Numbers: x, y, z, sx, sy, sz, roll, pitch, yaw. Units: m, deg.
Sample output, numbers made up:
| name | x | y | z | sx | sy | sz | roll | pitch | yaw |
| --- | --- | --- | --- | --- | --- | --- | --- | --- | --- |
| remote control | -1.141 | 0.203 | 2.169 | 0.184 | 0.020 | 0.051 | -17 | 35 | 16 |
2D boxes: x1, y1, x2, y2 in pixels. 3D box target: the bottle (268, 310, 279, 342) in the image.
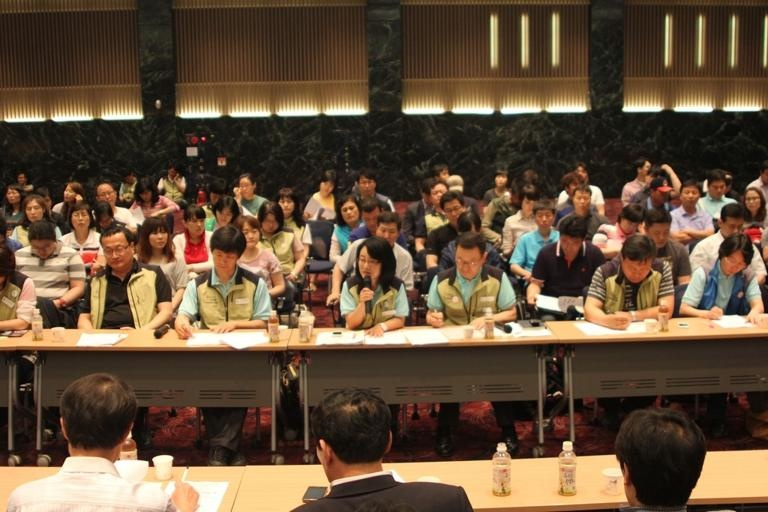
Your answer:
| name | x | y | z | sx | sy | sz | roll | pitch | yaw |
| --- | --- | --- | --- | --- | --- | --- | --- | --- | --- |
| bottle | -1.010 | 0.649 | 7.293 | 0.103 | 0.256 | 0.215 | -3 | 1 | -9 |

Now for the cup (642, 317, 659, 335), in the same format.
| name | x | y | z | sx | sy | sz | roll | pitch | yaw |
| --- | --- | --- | --- | --- | --- | --- | --- | --- | --- |
| cup | 2.463 | 0.651 | 7.350 | 0.113 | 0.091 | 0.120 | 1 | 0 | 0 |

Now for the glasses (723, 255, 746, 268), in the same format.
| name | x | y | z | sx | sy | sz | roll | pitch | yaw |
| --- | --- | --- | --- | --- | --- | --- | --- | --- | --- |
| glasses | 3.384 | 0.059 | 7.714 | 0.134 | 0.050 | 0.144 | 3 | -15 | -5 |

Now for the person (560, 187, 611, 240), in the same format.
| name | x | y | z | sx | sy | sz | roll | pitch | yaw |
| --- | --- | --- | --- | --- | --- | --- | --- | --- | --- |
| person | 2.493 | -0.528 | 10.001 | 0.811 | 0.756 | 0.455 | -4 | 13 | -11 |

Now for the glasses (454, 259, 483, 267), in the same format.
| name | x | y | z | sx | sy | sz | roll | pitch | yaw |
| --- | --- | --- | --- | --- | --- | --- | --- | --- | --- |
| glasses | 0.815 | 0.071 | 7.691 | 0.232 | 0.045 | 0.083 | -4 | 0 | 0 |

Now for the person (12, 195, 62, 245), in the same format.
| name | x | y | z | sx | sy | sz | roll | pitch | yaw |
| --- | --- | --- | --- | --- | --- | --- | --- | --- | --- |
| person | -4.334 | -0.426 | 9.894 | 0.690 | 0.733 | 0.383 | -1 | 2 | -14 |

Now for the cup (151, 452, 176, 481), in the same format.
| name | x | y | z | sx | sy | sz | roll | pitch | yaw |
| --- | --- | --- | --- | --- | --- | --- | --- | --- | --- |
| cup | -1.668 | 1.612 | 6.040 | 0.157 | 0.135 | 0.169 | 0 | -7 | 0 |

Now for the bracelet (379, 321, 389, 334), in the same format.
| name | x | y | z | sx | sy | sz | roll | pitch | yaw |
| --- | --- | --- | --- | --- | --- | --- | --- | --- | --- |
| bracelet | 0.000 | 0.673 | 7.459 | 0.062 | 0.062 | 0.076 | 2 | 15 | -9 |

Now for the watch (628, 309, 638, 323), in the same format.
| name | x | y | z | sx | sy | sz | roll | pitch | yaw |
| --- | --- | --- | --- | --- | --- | --- | --- | --- | --- |
| watch | 2.394 | 0.587 | 7.665 | 0.066 | 0.103 | 0.109 | -1 | -33 | 3 |

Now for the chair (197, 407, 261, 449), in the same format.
| name | x | y | z | sx | sy | sz | roll | pitch | yaw |
| --- | --- | --- | --- | --- | --- | --- | --- | --- | --- |
| chair | -1.430 | 1.578 | 7.430 | 0.350 | 0.508 | 0.411 | -5 | -12 | 38 |

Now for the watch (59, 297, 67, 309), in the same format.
| name | x | y | z | sx | sy | sz | roll | pitch | yaw |
| --- | --- | --- | --- | --- | --- | --- | --- | --- | --- |
| watch | -3.475 | 0.511 | 8.641 | 0.077 | 0.081 | 0.021 | 7 | -3 | 17 |

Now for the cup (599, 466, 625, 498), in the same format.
| name | x | y | z | sx | sy | sz | roll | pitch | yaw |
| --- | --- | --- | --- | --- | --- | --- | --- | --- | --- |
| cup | 1.671 | 1.666 | 5.882 | 0.174 | 0.132 | 0.175 | 1 | 11 | 0 |

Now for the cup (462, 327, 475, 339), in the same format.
| name | x | y | z | sx | sy | sz | roll | pitch | yaw |
| --- | --- | --- | --- | --- | --- | --- | --- | --- | --- |
| cup | 0.772 | 0.712 | 7.311 | 0.087 | 0.072 | 0.089 | 2 | 0 | 0 |

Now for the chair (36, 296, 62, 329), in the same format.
| name | x | y | z | sx | sy | sz | roll | pitch | yaw |
| --- | --- | --- | --- | --- | --- | --- | --- | --- | --- |
| chair | -3.345 | 0.574 | 7.975 | 0.211 | 0.405 | 0.124 | -15 | -2 | -23 |

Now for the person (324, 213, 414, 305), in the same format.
| name | x | y | z | sx | sy | sz | roll | pitch | yaw |
| --- | --- | --- | --- | --- | --- | --- | --- | --- | --- |
| person | -0.176 | 0.042 | 8.686 | 0.840 | 1.572 | 0.818 | 3 | 18 | 1 |

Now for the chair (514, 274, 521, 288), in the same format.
| name | x | y | z | sx | sy | sz | roll | pitch | yaw |
| --- | --- | --- | --- | --- | --- | --- | --- | --- | --- |
| chair | 1.559 | 0.308 | 9.388 | 0.125 | 0.127 | 0.127 | -2 | 7 | 5 |

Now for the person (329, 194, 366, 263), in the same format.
| name | x | y | z | sx | sy | sz | roll | pitch | yaw |
| --- | --- | --- | --- | --- | --- | --- | --- | --- | --- |
| person | -0.432 | -0.296 | 10.300 | 0.572 | 0.913 | 0.517 | -6 | 0 | -17 |

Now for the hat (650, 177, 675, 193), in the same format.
| name | x | y | z | sx | sy | sz | roll | pitch | yaw |
| --- | --- | --- | --- | --- | --- | --- | --- | --- | --- |
| hat | 3.557 | -0.919 | 10.283 | 0.191 | 0.153 | 0.281 | -1 | 8 | -19 |

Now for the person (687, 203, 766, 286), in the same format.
| name | x | y | z | sx | sy | sz | roll | pitch | yaw |
| --- | --- | --- | --- | --- | --- | --- | --- | --- | --- |
| person | 3.685 | -0.097 | 8.628 | 0.875 | 1.294 | 0.631 | -1 | 4 | 6 |

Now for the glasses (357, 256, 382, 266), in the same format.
| name | x | y | z | sx | sy | sz | roll | pitch | yaw |
| --- | --- | --- | --- | --- | --- | --- | --- | --- | --- |
| glasses | -0.147 | 0.042 | 7.501 | 0.106 | 0.058 | 0.147 | 1 | -23 | 16 |

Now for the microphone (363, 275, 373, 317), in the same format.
| name | x | y | z | sx | sy | sz | roll | pitch | yaw |
| --- | --- | --- | --- | --- | --- | --- | --- | --- | --- |
| microphone | -0.156 | 0.376 | 7.551 | 0.082 | 0.313 | 0.198 | -3 | 1 | -1 |

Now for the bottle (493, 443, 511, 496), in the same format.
| name | x | y | z | sx | sy | sz | roll | pitch | yaw |
| --- | --- | --- | --- | --- | --- | --- | --- | --- | --- |
| bottle | 0.868 | 1.575 | 5.948 | 0.144 | 0.313 | 0.250 | -3 | 1 | 10 |
